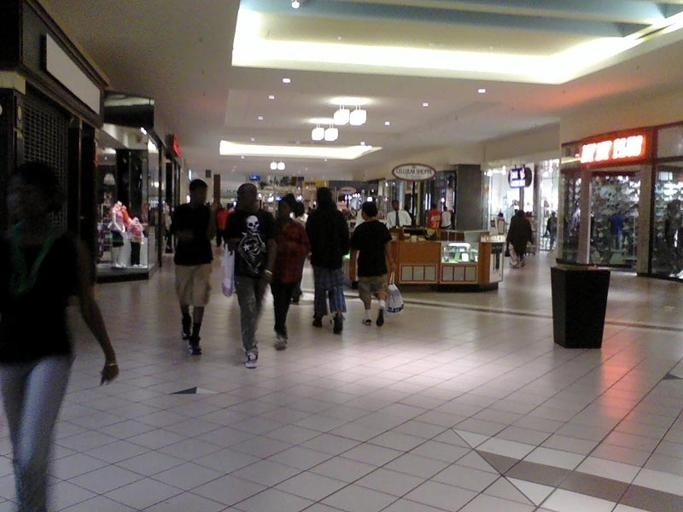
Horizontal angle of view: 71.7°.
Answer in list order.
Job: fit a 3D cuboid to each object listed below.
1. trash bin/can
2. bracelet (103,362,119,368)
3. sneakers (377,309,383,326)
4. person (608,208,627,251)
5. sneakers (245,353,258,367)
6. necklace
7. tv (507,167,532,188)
[{"bbox_3d":[2.698,0.585,5.402,0.579,0.977,0.420,2,5,23],"label":"trash bin/can"},{"bbox_3d":[-0.965,0.458,1.976,0.038,0.020,0.030,-5,0,-8],"label":"bracelet"},{"bbox_3d":[0.519,0.842,6.490,0.082,0.220,0.087,5,-9,-6],"label":"sneakers"},{"bbox_3d":[7.687,-0.715,13.150,0.190,1.117,0.542,-1,5,-8],"label":"person"},{"bbox_3d":[-0.900,1.019,4.676,0.119,0.142,0.192,-1,6,-11],"label":"sneakers"},{"bbox_3d":[-1.123,0.012,1.702,0.158,0.247,0.087,-2,5,-16],"label":"necklace"},{"bbox_3d":[7.112,-3.141,18.903,0.374,0.994,1.160,-2,1,-29],"label":"tv"}]
